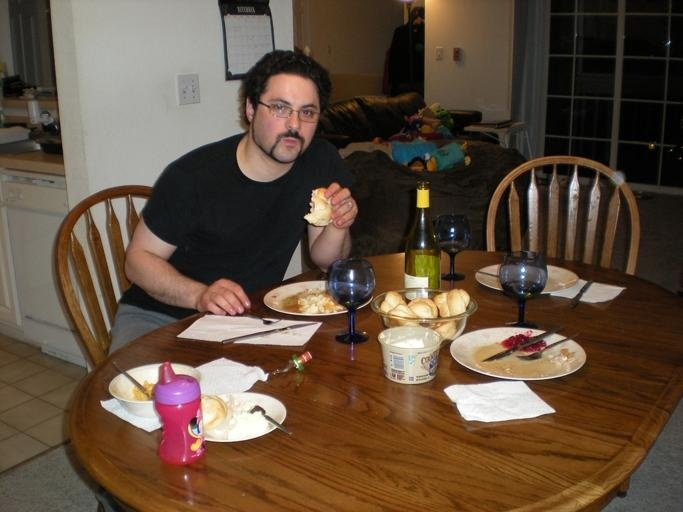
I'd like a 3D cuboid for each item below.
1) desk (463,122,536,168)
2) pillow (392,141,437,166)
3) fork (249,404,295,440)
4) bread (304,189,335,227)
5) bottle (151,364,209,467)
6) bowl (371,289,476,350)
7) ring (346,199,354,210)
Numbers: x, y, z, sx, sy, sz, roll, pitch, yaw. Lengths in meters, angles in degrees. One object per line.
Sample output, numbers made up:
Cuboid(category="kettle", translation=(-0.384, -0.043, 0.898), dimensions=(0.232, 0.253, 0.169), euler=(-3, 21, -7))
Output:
Cuboid(category="desk", translation=(1.966, -1.551, 6.548), dimensions=(0.770, 0.927, 0.980), euler=(5, 21, 23))
Cuboid(category="pillow", translation=(0.528, -0.840, 4.167), dimensions=(0.290, 0.112, 0.317), euler=(-5, 10, -9))
Cuboid(category="fork", translation=(-0.122, 0.294, 0.944), dimensions=(0.032, 0.009, 0.109), euler=(-31, 47, -29))
Cuboid(category="bread", translation=(-0.076, -0.156, 1.651), dimensions=(0.051, 0.116, 0.092), euler=(5, 1, 43))
Cuboid(category="bottle", translation=(-0.266, 0.274, 0.853), dimensions=(0.075, 0.144, 0.039), euler=(-8, 20, -20))
Cuboid(category="bowl", translation=(0.195, 0.135, 1.220), dimensions=(0.223, 0.111, 0.221), euler=(-2, 16, 1))
Cuboid(category="ring", translation=(0.030, -0.177, 1.678), dimensions=(0.012, 0.031, 0.046), euler=(7, 20, 22))
